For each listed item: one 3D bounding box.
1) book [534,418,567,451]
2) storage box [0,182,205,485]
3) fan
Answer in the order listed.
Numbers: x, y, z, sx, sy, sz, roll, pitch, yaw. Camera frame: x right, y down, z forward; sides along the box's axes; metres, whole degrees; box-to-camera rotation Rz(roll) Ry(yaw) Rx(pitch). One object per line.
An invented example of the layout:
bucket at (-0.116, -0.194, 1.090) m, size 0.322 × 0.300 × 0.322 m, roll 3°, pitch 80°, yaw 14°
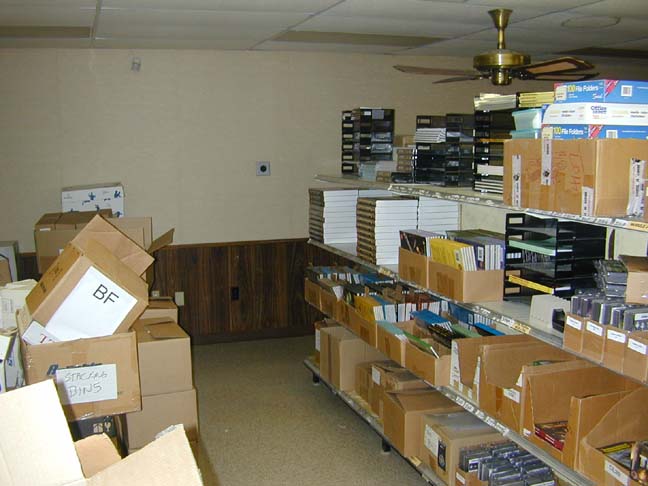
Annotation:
book at (0.957, 0.819, 2.266) m, size 0.134 × 0.030 × 0.124 m, roll 2°, pitch 5°, yaw 19°
storage box at (-1.158, 0.402, 2.702) m, size 0.607 × 0.996 × 0.795 m, roll -5°, pitch 11°, yaw -19°
fan at (1.344, -1.557, 4.179) m, size 1.278 × 0.459 × 1.272 m, roll 0°, pitch 12°, yaw 0°
